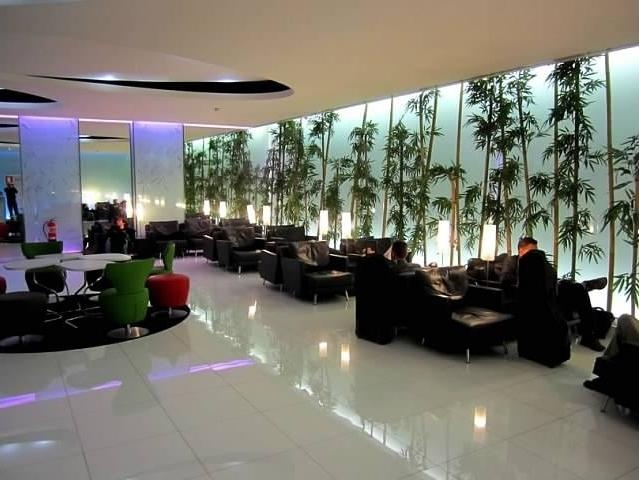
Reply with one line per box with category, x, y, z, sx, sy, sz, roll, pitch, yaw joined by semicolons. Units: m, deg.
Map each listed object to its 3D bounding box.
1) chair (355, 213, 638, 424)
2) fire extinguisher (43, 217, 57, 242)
chair;2.501;0.754;6.153;3.402;1.569;2.062;10;16;39
fire extinguisher;-8.158;-0.326;13.485;0.391;0.636;0.259;-8;15;-35
